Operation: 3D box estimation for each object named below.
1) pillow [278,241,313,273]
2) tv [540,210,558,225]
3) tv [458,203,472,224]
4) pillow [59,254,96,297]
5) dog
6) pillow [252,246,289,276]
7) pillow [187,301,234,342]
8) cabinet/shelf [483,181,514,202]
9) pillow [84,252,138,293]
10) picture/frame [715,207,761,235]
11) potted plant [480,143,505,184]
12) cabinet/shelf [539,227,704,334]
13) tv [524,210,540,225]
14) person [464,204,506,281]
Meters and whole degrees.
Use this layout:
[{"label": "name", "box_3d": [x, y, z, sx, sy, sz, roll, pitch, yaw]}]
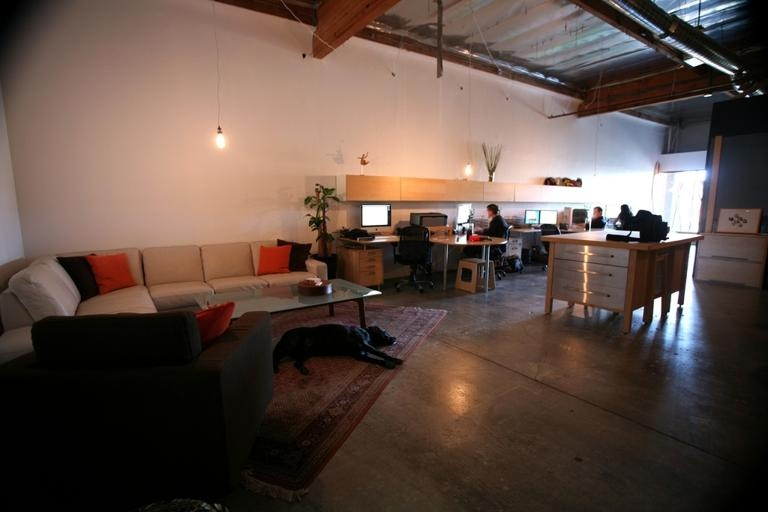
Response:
[{"label": "pillow", "box_3d": [-1.367, -0.091, 7.822, 0.364, 0.401, 0.156, -17, 30, -29]}, {"label": "tv", "box_3d": [3.735, -0.881, 11.245, 0.666, 0.397, 0.147, -5, 10, -30]}, {"label": "tv", "box_3d": [1.653, -0.868, 10.217, 0.402, 0.345, 0.090, -4, 9, -35]}, {"label": "pillow", "box_3d": [-3.891, 0.249, 6.377, 0.167, 0.485, 0.552, -18, 14, 12]}, {"label": "dog", "box_3d": [-0.583, 1.115, 6.080, 1.573, 0.611, 0.376, 3, -25, -23]}, {"label": "pillow", "box_3d": [-1.723, 0.086, 7.597, 0.441, 0.409, 0.151, 2, -22, -9]}, {"label": "pillow", "box_3d": [-1.640, 0.636, 4.753, 0.346, 0.396, 0.569, 8, -6, -25]}, {"label": "cabinet/shelf", "box_3d": [2.432, -1.354, 10.407, 0.207, 0.406, 0.929, 13, 19, 42]}, {"label": "pillow", "box_3d": [-3.681, 0.225, 6.630, 0.245, 0.395, 0.469, 6, 15, 30]}, {"label": "picture/frame", "box_3d": [6.455, -0.635, 8.991, 0.530, 0.467, 0.124, 14, 1, 44]}, {"label": "potted plant", "box_3d": [2.357, -2.037, 10.725, 0.270, 0.785, 0.661, 12, 18, 38]}, {"label": "cabinet/shelf", "box_3d": [3.636, 0.253, 7.627, 2.297, 1.074, 1.364, -6, 11, -43]}, {"label": "tv", "box_3d": [3.304, -0.849, 11.047, 0.380, 0.350, 0.037, 2, 0, -21]}, {"label": "person", "box_3d": [1.879, -0.317, 9.337, 0.812, 1.315, 0.656, 7, 0, 18]}]
